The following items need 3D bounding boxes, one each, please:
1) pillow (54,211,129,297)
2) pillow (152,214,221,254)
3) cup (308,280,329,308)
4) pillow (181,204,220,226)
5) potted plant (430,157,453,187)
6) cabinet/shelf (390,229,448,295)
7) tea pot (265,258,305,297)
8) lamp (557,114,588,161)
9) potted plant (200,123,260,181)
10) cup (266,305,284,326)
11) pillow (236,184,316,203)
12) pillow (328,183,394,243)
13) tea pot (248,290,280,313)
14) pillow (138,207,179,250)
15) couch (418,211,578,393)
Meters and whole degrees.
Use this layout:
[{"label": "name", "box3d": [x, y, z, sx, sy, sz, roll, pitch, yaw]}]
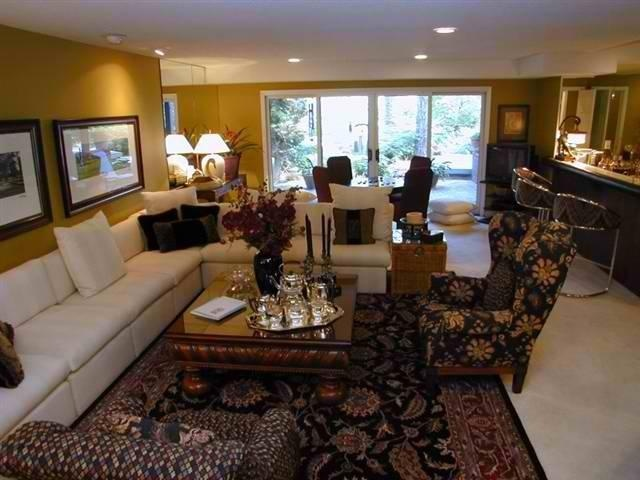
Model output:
[{"label": "pillow", "box3d": [-2.107, 0.147, 4.169, 0.380, 0.599, 0.692, 4, 18, 11]}, {"label": "pillow", "box3d": [-1.513, -0.061, 5.125, 0.684, 0.368, 0.179, -16, -2, -41]}, {"label": "cup", "box3d": [-0.011, 0.429, 3.659, 0.193, 0.261, 0.164, -2, 7, -13]}, {"label": "pillow", "box3d": [-1.439, -0.312, 5.427, 0.279, 0.098, 0.261, 3, 26, -8]}, {"label": "potted plant", "box3d": [2.406, -1.322, 9.112, 0.336, 0.742, 1.054, 2, 18, 14]}, {"label": "cabinet/shelf", "box3d": [1.030, 0.199, 5.224, 0.708, 0.633, 0.663, 1, 20, 6]}, {"label": "tea pot", "box3d": [-0.304, 0.300, 3.917, 0.415, 0.362, 0.239, 1, 7, 18]}, {"label": "lamp", "box3d": [3.985, -1.652, 7.301, 0.377, 0.662, 0.738, 7, 20, 25]}, {"label": "potted plant", "box3d": [-1.404, -1.591, 8.224, 1.089, 0.935, 1.048, -8, 12, -30]}, {"label": "cup", "box3d": [-0.347, 0.573, 3.486, 0.137, 0.187, 0.114, -6, 23, -9]}, {"label": "pillow", "box3d": [-0.486, -0.645, 6.566, 0.733, 0.243, 0.651, 5, 12, 26]}, {"label": "pillow", "box3d": [0.463, -0.287, 5.264, 0.788, 0.638, 0.249, 2, -2, 6]}, {"label": "tea pot", "box3d": [-0.440, 0.495, 3.622, 0.199, 0.088, 0.184, 3, 13, -1]}, {"label": "pillow", "box3d": [-1.857, -0.117, 5.163, 0.450, 0.410, 0.159, -8, -26, -25]}, {"label": "couch", "box3d": [1.291, 0.496, 3.673, 1.260, 1.213, 1.201, -8, 16, -16]}]
